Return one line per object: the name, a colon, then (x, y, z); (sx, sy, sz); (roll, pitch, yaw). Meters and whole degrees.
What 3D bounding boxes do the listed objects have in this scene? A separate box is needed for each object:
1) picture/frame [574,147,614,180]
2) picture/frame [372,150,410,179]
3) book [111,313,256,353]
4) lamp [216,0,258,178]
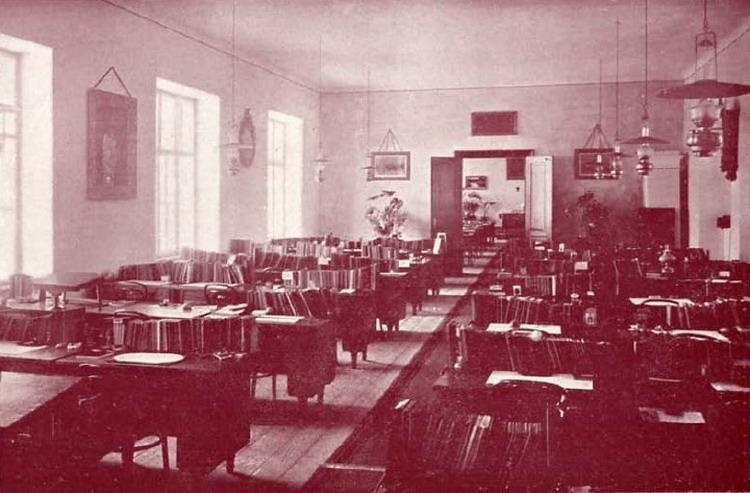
picture/frame: (3.638, -1.395, 12.064); (0.487, 0.544, 1.454); (-2, 4, 6)
picture/frame: (0.304, -1.736, 15.080); (0.771, 0.502, 0.053); (-1, 10, -12)
book: (-1.979, 0.917, 7.489); (0.851, 0.263, 0.631); (1, 0, 0)
lamp: (-2.200, -2.353, 11.453); (0.613, 2.402, 2.791); (-3, 4, -10)
